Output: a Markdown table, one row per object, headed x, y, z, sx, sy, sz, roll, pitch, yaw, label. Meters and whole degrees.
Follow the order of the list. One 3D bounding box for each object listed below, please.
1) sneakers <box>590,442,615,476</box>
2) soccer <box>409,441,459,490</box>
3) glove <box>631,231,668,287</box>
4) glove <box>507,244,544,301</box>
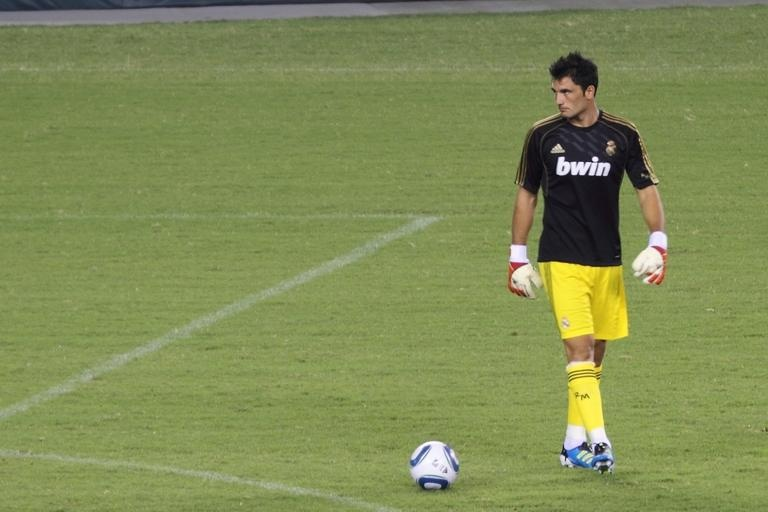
| x | y | z | sx | sy | sz | roll | pitch | yaw | label |
| --- | --- | --- | --- | --- | --- | --- | --- | --- | --- |
| 2.177 | 2.006 | 18.369 | 0.218 | 0.136 | 0.318 | -1 | 43 | 0 | sneakers |
| 0.502 | 2.065 | 18.321 | 0.479 | 0.457 | 0.183 | -3 | 6 | -1 | soccer |
| 2.712 | 0.032 | 18.811 | 0.348 | 0.564 | 0.372 | 1 | 0 | -2 | glove |
| 1.454 | 0.168 | 19.015 | 0.420 | 0.533 | 0.308 | 2 | -1 | -10 | glove |
